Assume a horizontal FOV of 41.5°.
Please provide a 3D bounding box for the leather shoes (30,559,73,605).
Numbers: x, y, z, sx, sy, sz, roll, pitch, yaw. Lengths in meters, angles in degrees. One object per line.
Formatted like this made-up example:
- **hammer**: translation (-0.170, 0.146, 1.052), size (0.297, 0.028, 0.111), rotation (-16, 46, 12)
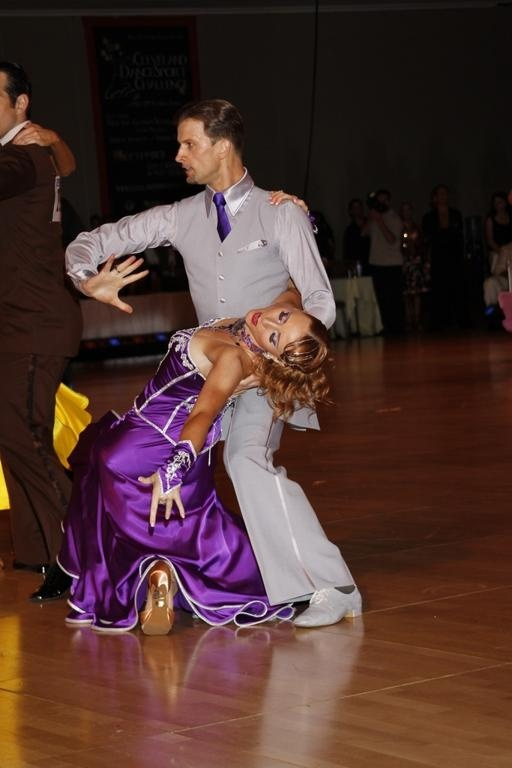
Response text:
- **leather shoes**: translation (-0.652, 0.657, 2.248), size (0.074, 0.081, 0.212), rotation (-9, -7, 19)

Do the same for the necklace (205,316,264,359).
- **necklace**: translation (-0.054, -0.124, 1.846), size (0.155, 0.073, 0.103), rotation (7, 18, 4)

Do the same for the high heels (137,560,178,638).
- **high heels**: translation (-0.259, 0.572, 1.796), size (0.076, 0.078, 0.195), rotation (0, 54, -3)

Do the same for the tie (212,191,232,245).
- **tie**: translation (-0.096, -0.502, 2.052), size (0.048, 0.150, 0.045), rotation (-5, 2, 8)

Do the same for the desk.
- **desk**: translation (-1.310, -0.982, 9.803), size (6.410, 1.285, 1.220), rotation (-3, 6, -14)

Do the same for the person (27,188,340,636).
- **person**: translation (-0.221, 0.182, 1.820), size (0.862, 1.023, 0.549), rotation (-4, 11, 5)

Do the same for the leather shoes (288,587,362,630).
- **leather shoes**: translation (0.199, 0.598, 1.835), size (0.219, 0.081, 0.076), rotation (-4, -2, -29)

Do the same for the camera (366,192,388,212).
- **camera**: translation (2.134, -3.160, 11.688), size (0.425, 0.355, 0.302), rotation (6, 15, 12)
